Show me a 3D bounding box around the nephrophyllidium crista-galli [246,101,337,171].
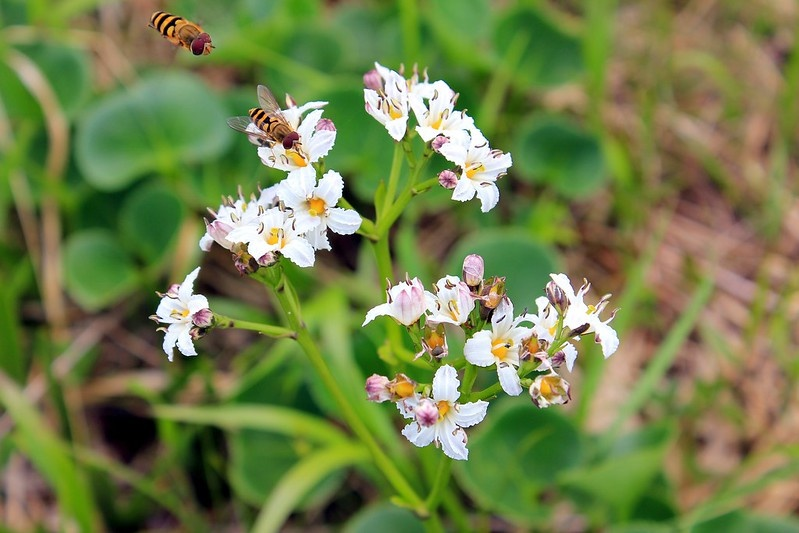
[{"bbox_3d":[-0.354,-0.459,2.652,0.232,0.222,0.249,7,32,-20],"label":"nephrophyllidium crista-galli"}]

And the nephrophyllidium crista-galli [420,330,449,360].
[{"bbox_3d":[0.116,0.262,2.575,0.091,0.093,0.080,12,30,-11],"label":"nephrophyllidium crista-galli"}]

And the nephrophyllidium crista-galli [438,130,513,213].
[{"bbox_3d":[0.259,-0.330,2.639,0.219,0.216,0.236,35,34,27],"label":"nephrophyllidium crista-galli"}]

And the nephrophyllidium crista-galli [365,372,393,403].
[{"bbox_3d":[-0.067,0.408,2.601,0.084,0.088,0.072,27,-16,-36],"label":"nephrophyllidium crista-galli"}]

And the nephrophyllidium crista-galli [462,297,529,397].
[{"bbox_3d":[0.334,0.263,2.555,0.241,0.326,0.127,4,-13,2],"label":"nephrophyllidium crista-galli"}]

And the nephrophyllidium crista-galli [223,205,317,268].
[{"bbox_3d":[-0.426,-0.088,2.589,0.203,0.096,0.233,-12,70,-8],"label":"nephrophyllidium crista-galli"}]

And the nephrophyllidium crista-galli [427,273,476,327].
[{"bbox_3d":[0.166,0.101,2.600,0.151,0.153,0.097,44,12,14],"label":"nephrophyllidium crista-galli"}]

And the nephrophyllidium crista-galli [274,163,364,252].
[{"bbox_3d":[-0.282,-0.197,2.597,0.241,0.105,0.235,-12,-16,37],"label":"nephrophyllidium crista-galli"}]

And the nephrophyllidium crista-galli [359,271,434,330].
[{"bbox_3d":[-0.010,0.131,2.576,0.144,0.131,0.197,-2,29,39],"label":"nephrophyllidium crista-galli"}]

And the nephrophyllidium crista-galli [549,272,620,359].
[{"bbox_3d":[0.627,0.138,2.638,0.259,0.138,0.268,42,23,-6],"label":"nephrophyllidium crista-galli"}]

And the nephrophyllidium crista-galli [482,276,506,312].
[{"bbox_3d":[0.311,0.093,2.562,0.046,0.116,0.044,28,36,11],"label":"nephrophyllidium crista-galli"}]

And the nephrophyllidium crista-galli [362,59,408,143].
[{"bbox_3d":[-0.035,-0.567,2.696,0.125,0.330,0.137,-11,-13,5],"label":"nephrophyllidium crista-galli"}]

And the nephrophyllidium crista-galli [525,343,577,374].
[{"bbox_3d":[0.522,0.326,2.571,0.107,0.072,0.116,-16,6,22],"label":"nephrophyllidium crista-galli"}]
